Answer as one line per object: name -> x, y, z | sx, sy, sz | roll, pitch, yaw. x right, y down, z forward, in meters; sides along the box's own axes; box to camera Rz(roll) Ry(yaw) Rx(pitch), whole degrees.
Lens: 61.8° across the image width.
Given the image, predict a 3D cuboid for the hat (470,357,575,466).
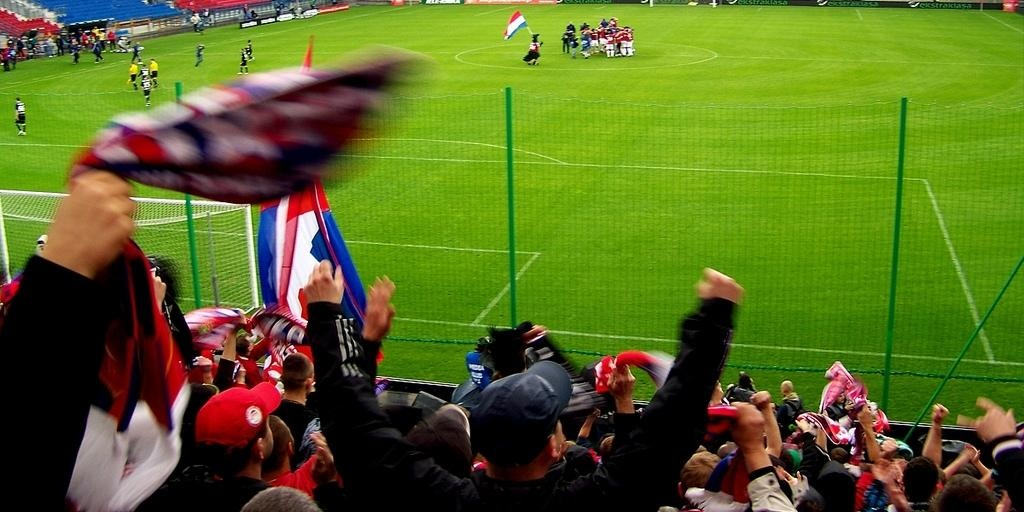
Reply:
hat -> 0.135, 1.246, 7.271 | 0.684, 0.432, 0.977 | 22, 47, 28
